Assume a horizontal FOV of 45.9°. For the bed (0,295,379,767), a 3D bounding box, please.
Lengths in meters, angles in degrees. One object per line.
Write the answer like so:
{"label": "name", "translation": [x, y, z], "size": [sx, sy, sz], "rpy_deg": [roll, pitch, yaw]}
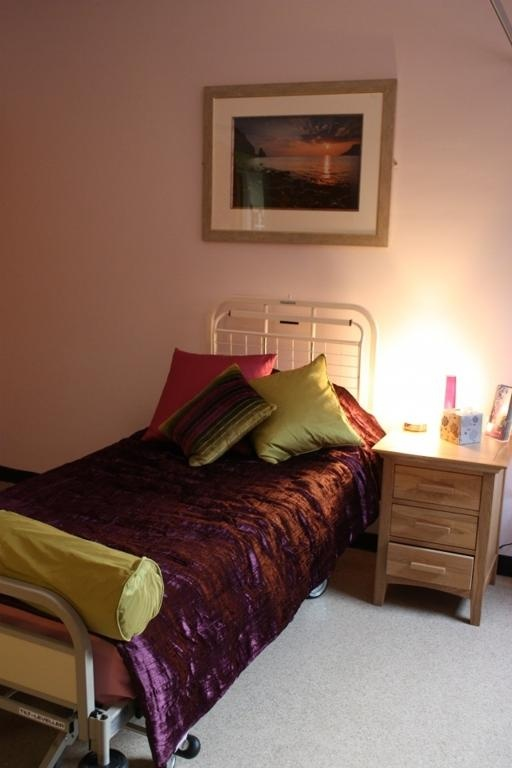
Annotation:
{"label": "bed", "translation": [-0.103, 0.190, 2.360], "size": [0.706, 0.889, 1.343], "rpy_deg": [9, 23, 25]}

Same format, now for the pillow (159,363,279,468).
{"label": "pillow", "translation": [-0.161, 0.107, 2.359], "size": [0.383, 0.345, 0.375], "rpy_deg": [0, 6, -19]}

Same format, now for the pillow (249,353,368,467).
{"label": "pillow", "translation": [0.178, 0.085, 2.255], "size": [0.357, 0.362, 0.110], "rpy_deg": [-17, -29, -18]}
